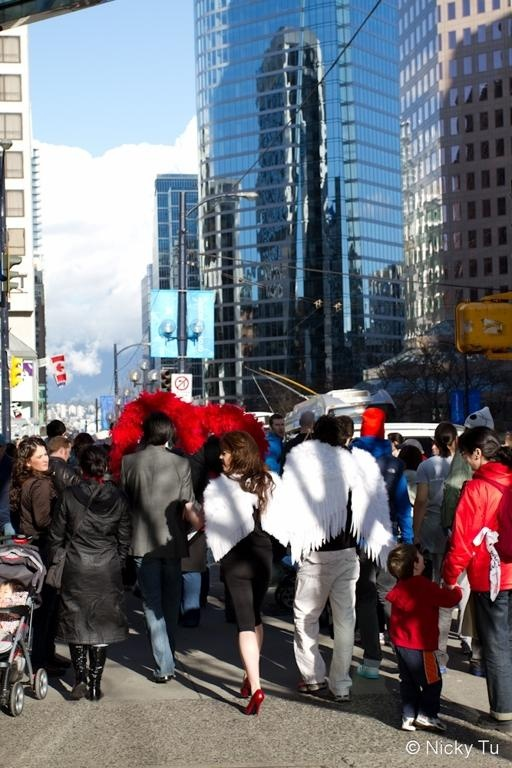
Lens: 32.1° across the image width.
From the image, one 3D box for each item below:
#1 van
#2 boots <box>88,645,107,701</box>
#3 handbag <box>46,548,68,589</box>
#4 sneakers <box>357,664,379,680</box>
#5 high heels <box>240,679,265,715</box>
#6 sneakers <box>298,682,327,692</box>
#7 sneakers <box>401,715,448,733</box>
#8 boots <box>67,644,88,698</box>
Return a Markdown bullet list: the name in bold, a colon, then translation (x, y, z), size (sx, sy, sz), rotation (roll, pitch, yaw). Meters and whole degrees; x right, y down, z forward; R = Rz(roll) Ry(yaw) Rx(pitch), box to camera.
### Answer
- **van**: translation (2.035, 0.657, 19.153), size (5.096, 2.558, 2.176), rotation (-4, -2, 33)
- **boots**: translation (-1.023, 1.832, 5.649), size (0.116, 0.350, 0.127), rotation (-3, 2, -10)
- **handbag**: translation (-1.274, 1.183, 5.657), size (0.082, 0.225, 0.164), rotation (13, -10, -20)
- **sneakers**: translation (0.787, 2.028, 6.275), size (0.073, 0.102, 0.158), rotation (1, 5, -21)
- **high heels**: translation (-0.025, 1.900, 5.368), size (0.087, 0.124, 0.292), rotation (-1, 0, -8)
- **sneakers**: translation (0.363, 1.986, 5.769), size (0.173, 0.075, 0.075), rotation (1, -3, 9)
- **sneakers**: translation (0.918, 1.860, 4.838), size (0.252, 0.087, 0.114), rotation (0, 37, 11)
- **boots**: translation (-1.144, 1.828, 5.705), size (0.121, 0.364, 0.284), rotation (-3, 3, -12)
